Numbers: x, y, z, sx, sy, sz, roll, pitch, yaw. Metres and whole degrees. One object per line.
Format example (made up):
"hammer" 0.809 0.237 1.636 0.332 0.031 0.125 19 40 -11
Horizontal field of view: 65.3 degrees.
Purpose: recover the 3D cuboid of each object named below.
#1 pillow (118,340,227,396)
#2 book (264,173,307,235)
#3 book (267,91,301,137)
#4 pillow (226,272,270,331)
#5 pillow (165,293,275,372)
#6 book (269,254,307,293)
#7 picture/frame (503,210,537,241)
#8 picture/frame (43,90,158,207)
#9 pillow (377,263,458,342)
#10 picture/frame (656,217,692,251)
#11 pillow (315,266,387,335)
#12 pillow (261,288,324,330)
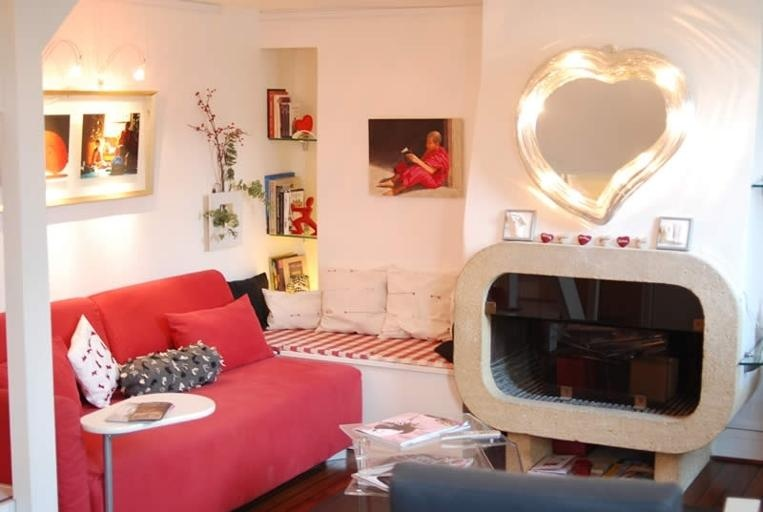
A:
"pillow" -1.355 0.686 3.832 0.280 0.198 0.501 16 16 41
"book" -0.904 -0.445 5.491 0.323 0.530 0.572 2 5 23
"book" -0.896 -1.254 5.400 0.243 0.396 0.431 1 4 17
"pillow" -1.089 0.391 4.808 0.153 0.289 0.442 9 17 28
"pillow" -1.169 0.597 4.346 0.311 0.476 0.757 -6 5 36
"book" -0.895 0.187 5.594 0.334 0.290 0.111 -6 12 -38
"picture/frame" 0.930 -0.193 3.957 0.200 0.192 0.028 4 -1 23
"picture/frame" -1.955 -0.764 4.147 0.996 0.683 0.095 5 5 19
"pillow" 0.294 0.416 4.834 0.606 0.561 0.220 5 -1 17
"picture/frame" 1.784 -0.122 3.610 0.192 0.210 0.043 5 -3 23
"pillow" -0.245 0.409 5.010 0.590 0.539 0.206 0 -3 15
"pillow" -0.765 0.485 5.121 0.364 0.233 0.120 -1 3 -5
